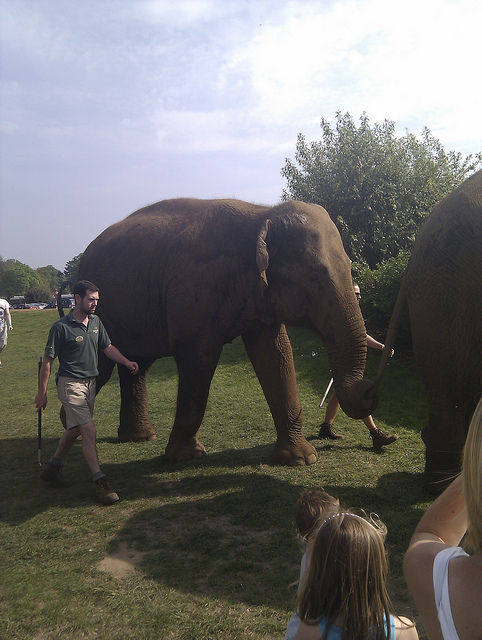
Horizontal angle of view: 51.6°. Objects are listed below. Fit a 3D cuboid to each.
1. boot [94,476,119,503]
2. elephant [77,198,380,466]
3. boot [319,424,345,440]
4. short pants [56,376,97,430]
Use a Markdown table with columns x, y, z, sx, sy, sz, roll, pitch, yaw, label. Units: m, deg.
| x | y | z | sx | sy | sz | roll | pitch | yaw | label |
| --- | --- | --- | --- | --- | --- | --- | --- | --- | --- |
| -1.155 | 1.466 | 4.310 | 0.112 | 0.127 | 0.284 | -4 | 3 | -31 | boot |
| -0.394 | 0.206 | 6.003 | 3.829 | 3.025 | 1.517 | 2 | 8 | 20 | elephant |
| 1.076 | 1.356 | 6.089 | 0.356 | 0.212 | 0.129 | -2 | 4 | -4 | boot |
| -1.471 | 0.738 | 4.531 | 0.331 | 0.581 | 0.430 | -6 | -10 | 5 | short pants |
